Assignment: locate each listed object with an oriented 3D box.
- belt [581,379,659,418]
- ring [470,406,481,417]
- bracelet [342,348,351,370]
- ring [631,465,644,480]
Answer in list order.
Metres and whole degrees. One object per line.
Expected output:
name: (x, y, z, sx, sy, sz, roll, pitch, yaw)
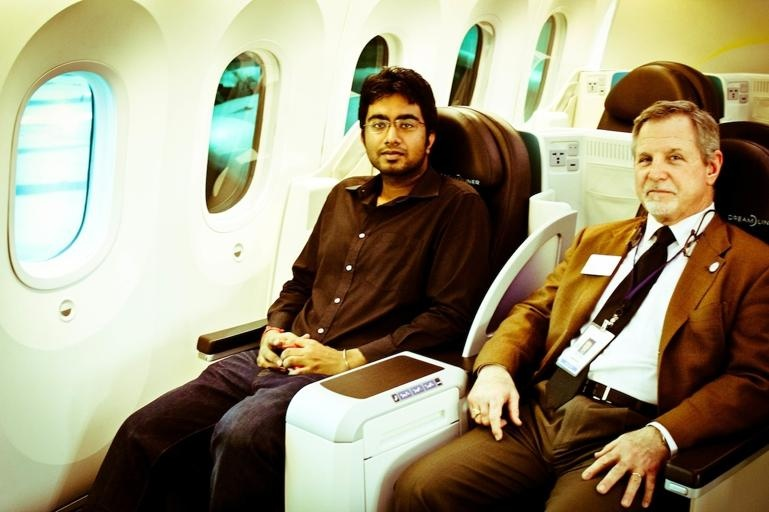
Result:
belt: (0.959, 0.594, 2.188, 0.164, 0.039, 0.161, 30, -3, -33)
ring: (0.388, 0.662, 2.251, 0.033, 0.048, 0.017, 3, 6, 34)
bracelet: (-0.184, 0.495, 2.499, 0.024, 0.070, 0.050, 1, -5, 5)
ring: (0.923, 0.795, 1.914, 0.042, 0.026, 0.023, 5, 13, 19)
